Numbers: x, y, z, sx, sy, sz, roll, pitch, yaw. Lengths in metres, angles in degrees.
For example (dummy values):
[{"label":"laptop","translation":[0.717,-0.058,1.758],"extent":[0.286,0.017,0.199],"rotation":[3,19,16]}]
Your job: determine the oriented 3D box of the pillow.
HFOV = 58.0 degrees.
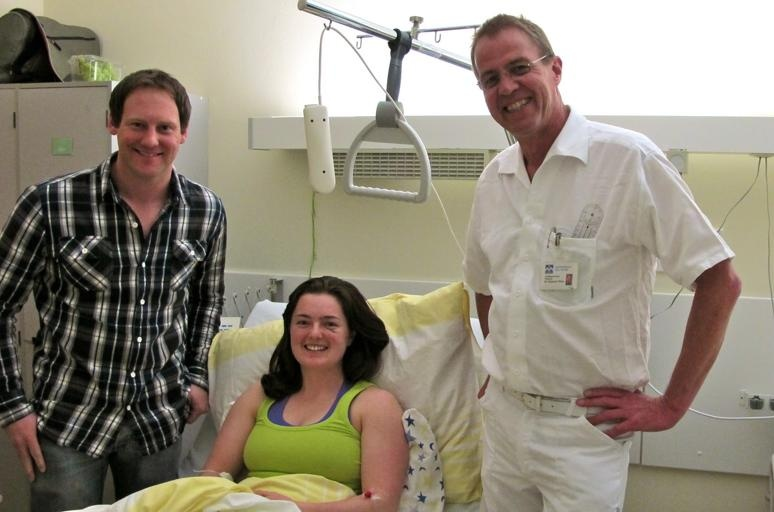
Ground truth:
[{"label":"pillow","translation":[-0.135,0.623,3.016],"extent":[0.978,0.933,0.276],"rotation":[-5,-4,8]}]
